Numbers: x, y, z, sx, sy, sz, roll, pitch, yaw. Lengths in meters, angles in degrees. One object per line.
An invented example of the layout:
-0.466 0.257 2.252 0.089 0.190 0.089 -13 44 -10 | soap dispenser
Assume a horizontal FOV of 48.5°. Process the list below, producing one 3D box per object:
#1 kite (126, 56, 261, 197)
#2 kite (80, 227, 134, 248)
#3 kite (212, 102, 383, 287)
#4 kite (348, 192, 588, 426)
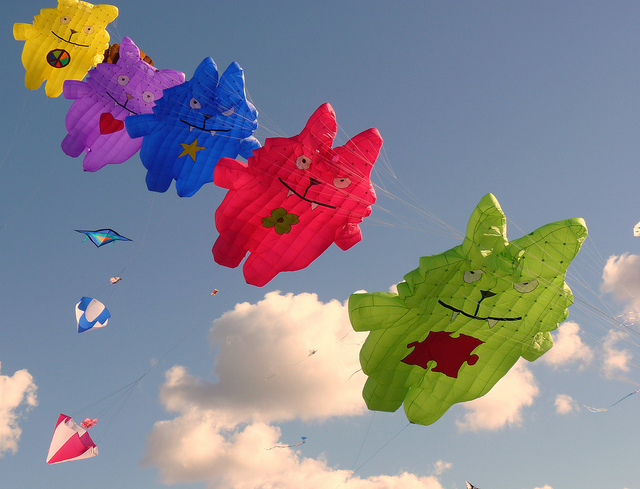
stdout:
-2.973 -2.670 17.224 3.612 4.197 0.488 12 -32 7 | kite
-4.680 -0.203 15.449 0.953 0.494 0.119 11 15 -6 | kite
-0.568 -1.031 15.694 2.672 3.128 0.367 40 12 -13 | kite
2.890 1.479 14.959 5.022 6.692 0.734 9 42 -14 | kite
